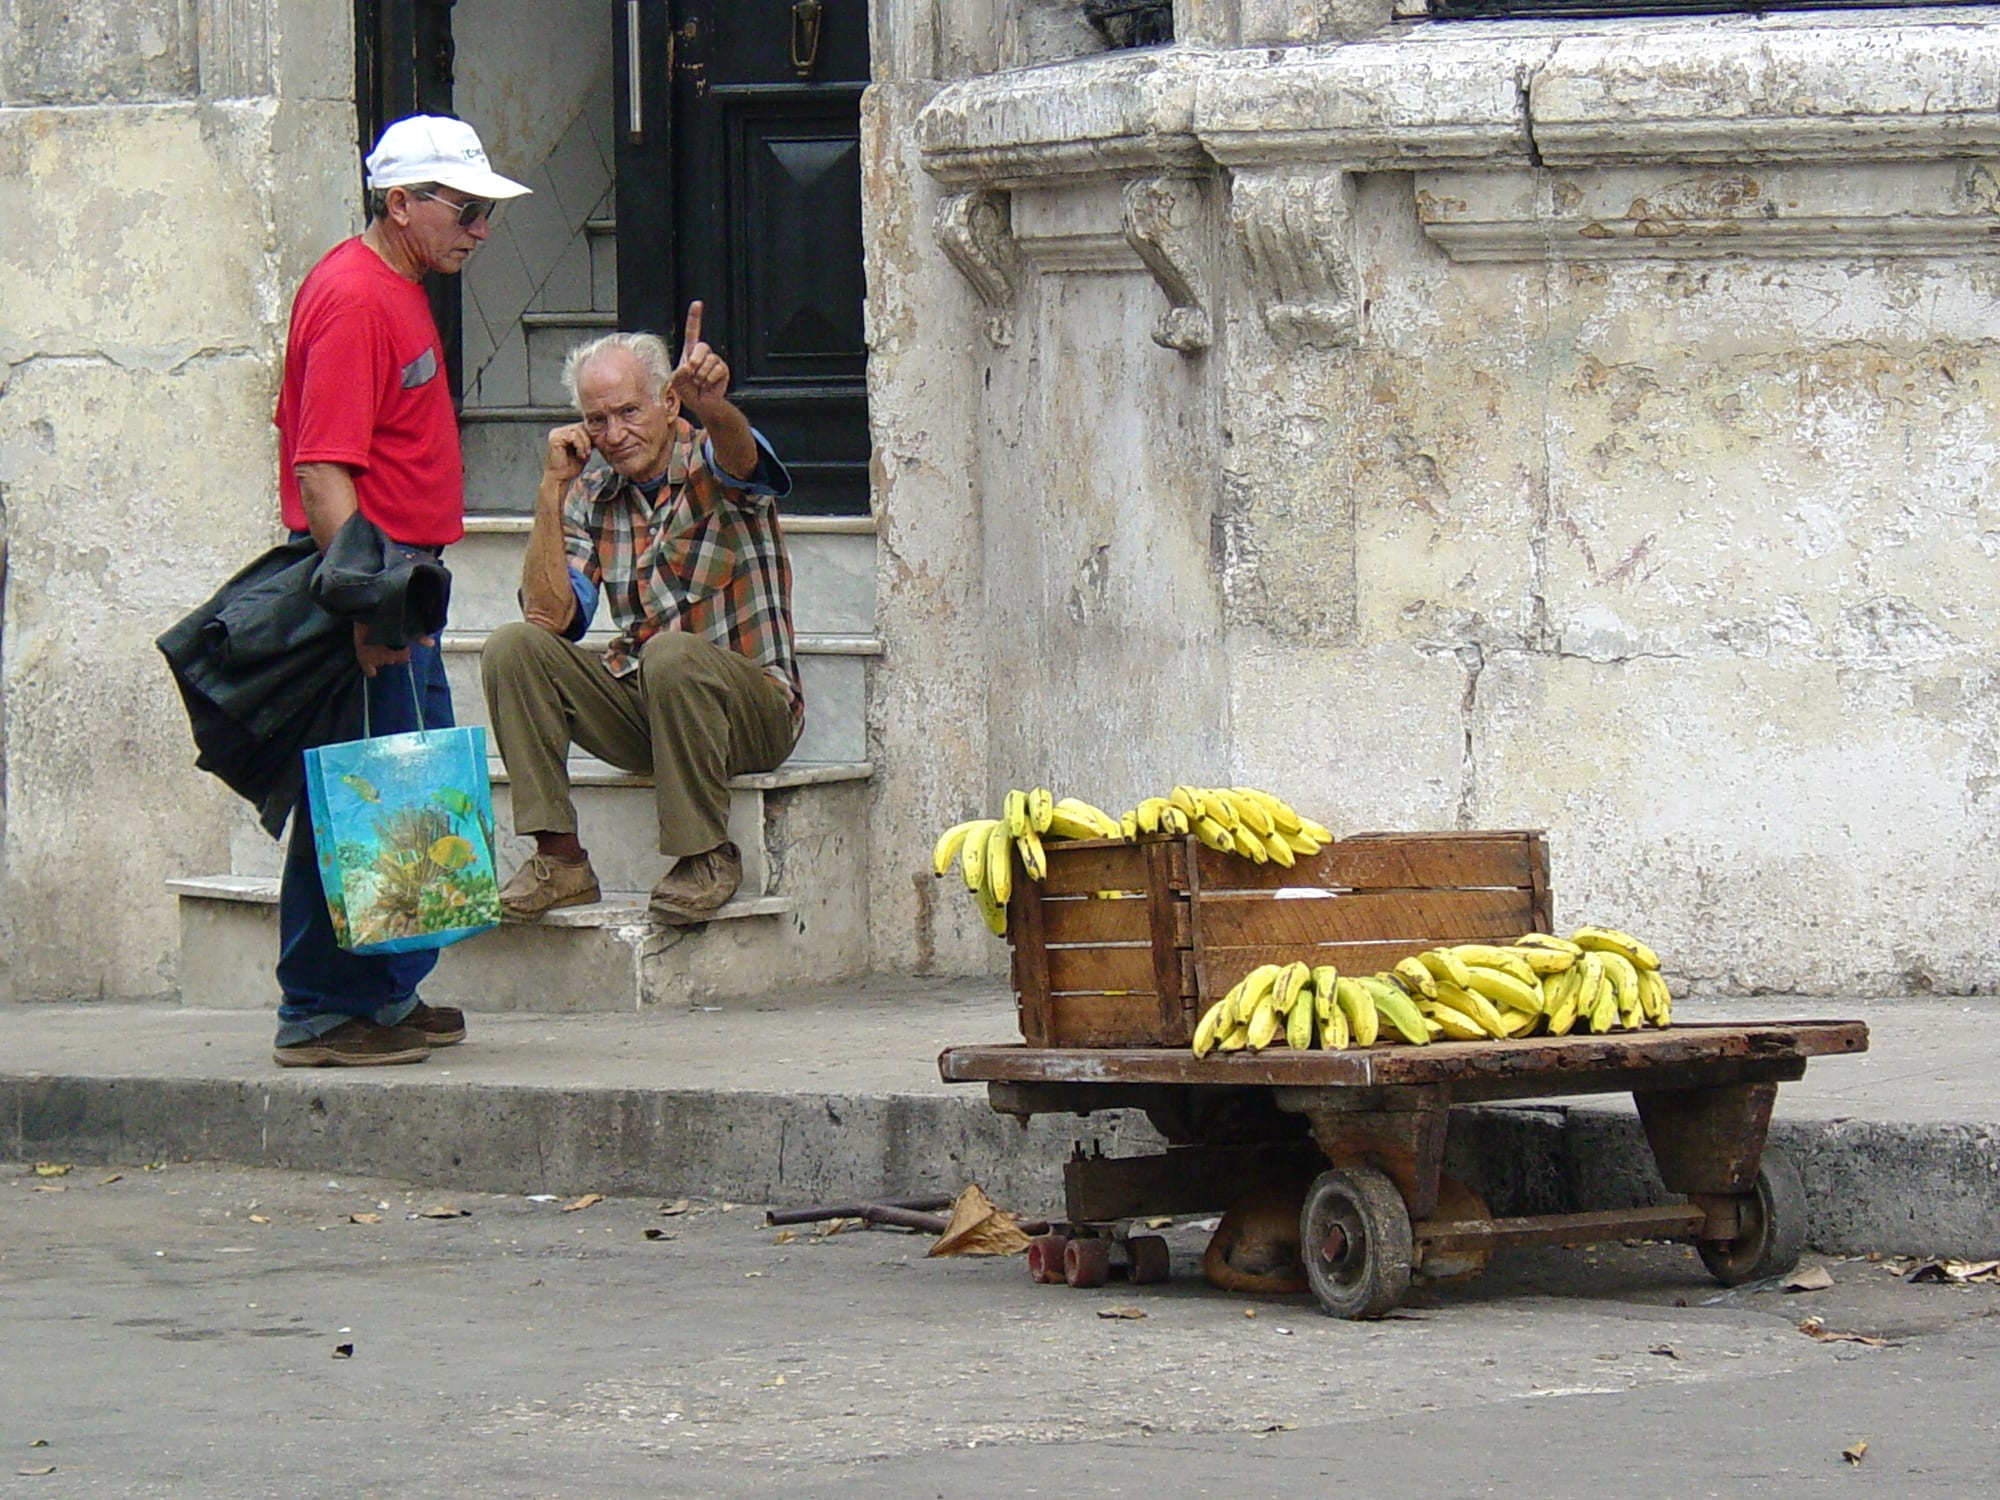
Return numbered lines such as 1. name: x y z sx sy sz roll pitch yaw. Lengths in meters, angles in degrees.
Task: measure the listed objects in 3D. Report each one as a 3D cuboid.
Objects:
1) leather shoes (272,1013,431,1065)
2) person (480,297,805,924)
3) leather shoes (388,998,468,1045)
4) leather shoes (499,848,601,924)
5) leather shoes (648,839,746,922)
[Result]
1. leather shoes: -1.794 0.777 9.749 0.380 0.168 0.159 -2 -2 -5
2. person: -1.070 -0.415 10.466 0.908 1.787 1.376 -3 -1 9
3. leather shoes: -1.595 0.768 9.834 0.201 0.087 0.078 -2 5 -24
4. leather shoes: -1.328 0.399 10.353 0.337 0.154 0.131 -3 6 -44
5. leather shoes: -0.899 0.390 10.394 0.126 0.155 0.344 10 14 23
